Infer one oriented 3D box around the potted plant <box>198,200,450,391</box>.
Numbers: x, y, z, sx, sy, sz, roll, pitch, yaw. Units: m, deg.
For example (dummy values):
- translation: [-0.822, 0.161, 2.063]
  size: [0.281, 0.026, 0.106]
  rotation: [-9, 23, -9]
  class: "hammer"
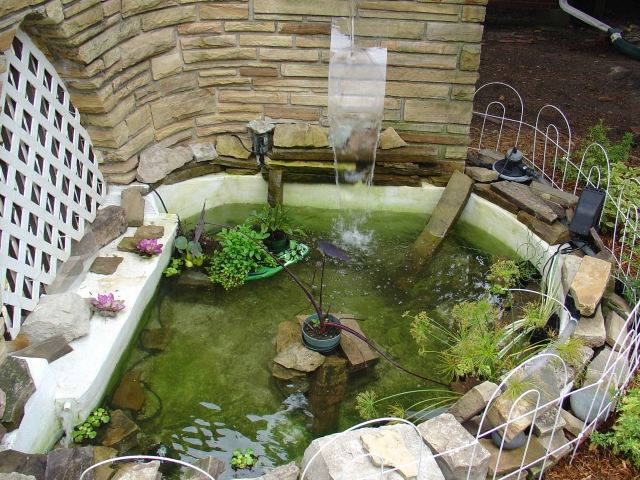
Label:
- translation: [0.040, 0.582, 4.067]
  size: [2.103, 0.837, 0.471]
  rotation: [31, 43, 12]
  class: "potted plant"
